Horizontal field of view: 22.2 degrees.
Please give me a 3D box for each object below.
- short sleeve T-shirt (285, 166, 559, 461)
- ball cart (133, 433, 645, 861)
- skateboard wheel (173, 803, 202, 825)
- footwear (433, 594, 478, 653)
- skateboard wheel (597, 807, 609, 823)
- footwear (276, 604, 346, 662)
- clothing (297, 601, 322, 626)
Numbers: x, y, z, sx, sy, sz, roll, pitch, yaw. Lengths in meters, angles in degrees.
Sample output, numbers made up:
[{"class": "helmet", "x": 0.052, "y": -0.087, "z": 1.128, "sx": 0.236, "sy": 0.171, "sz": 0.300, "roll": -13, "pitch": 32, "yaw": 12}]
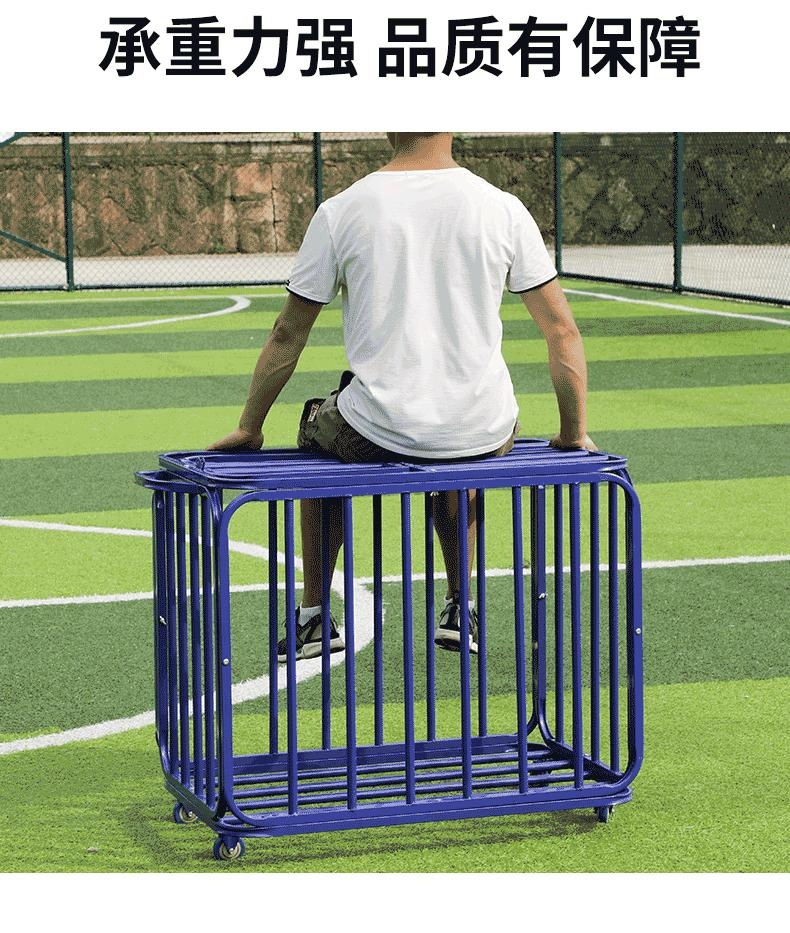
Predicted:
[{"class": "short sleeve T-shirt", "x": 0.114, "y": -0.475, "z": 6.465, "sx": 0.950, "sy": 1.229, "sz": 0.734, "roll": -1, "pitch": 7, "yaw": 1}, {"class": "ball cart", "x": 0.109, "y": 0.437, "z": 6.536, "sx": 1.448, "sy": 1.383, "sz": 0.960, "roll": -4, "pitch": 24, "yaw": -9}, {"class": "skateboard wheel", "x": -0.623, "y": 1.047, "z": 6.041, "sx": 0.057, "sy": 0.070, "sz": 0.022, "roll": -36, "pitch": -3, "yaw": -16}, {"class": "footwear", "x": 0.214, "y": 0.547, "z": 6.840, "sx": 0.079, "sy": 0.139, "sz": 0.269, "roll": 1, "pitch": -4, "yaw": 8}, {"class": "skateboard wheel", "x": 0.628, "y": 1.050, "z": 6.074, "sx": 0.039, "sy": 0.052, "sz": 0.047, "roll": -1, "pitch": 10, "yaw": 1}, {"class": "footwear", "x": -0.273, "y": 0.559, "z": 6.586, "sx": 0.107, "sy": 0.192, "sz": 0.326, "roll": -8, "pitch": 1, "yaw": -32}, {"class": "clothing", "x": -0.282, "y": 0.487, "z": 6.632, "sx": 0.089, "sy": 0.111, "sz": 0.060, "roll": -1, "pitch": 3, "yaw": 13}]
